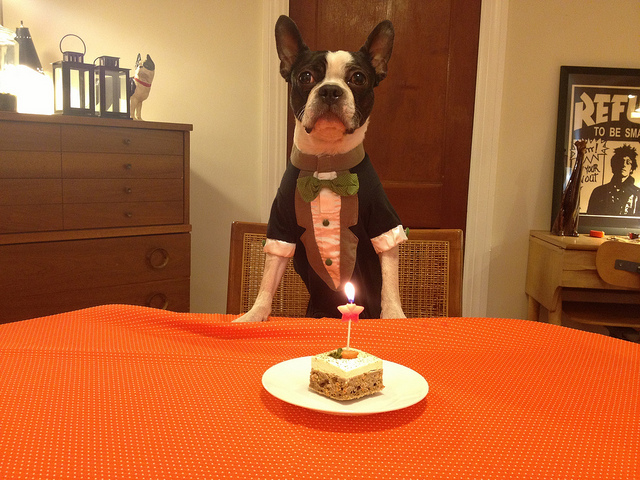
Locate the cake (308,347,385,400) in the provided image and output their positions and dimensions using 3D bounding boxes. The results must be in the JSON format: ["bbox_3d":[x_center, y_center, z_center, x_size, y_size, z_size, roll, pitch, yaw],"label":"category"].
[{"bbox_3d":[0.042,0.210,0.831,0.079,0.059,0.078,-5,8,-39],"label":"cake"}]

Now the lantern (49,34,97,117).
[{"bbox_3d":[-1.108,-0.756,2.208,0.173,0.399,0.619,-5,14,-27],"label":"lantern"}]

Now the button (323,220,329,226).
[{"bbox_3d":[0.023,-0.055,1.594,0.018,0.019,0.008,-1,12,-9],"label":"button"}]

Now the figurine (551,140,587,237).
[{"bbox_3d":[1.359,-0.279,2.637,0.133,0.501,0.145,6,11,-4],"label":"figurine"}]

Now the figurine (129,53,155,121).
[{"bbox_3d":[-0.822,-0.709,2.281,0.108,0.300,0.249,-3,13,-18],"label":"figurine"}]

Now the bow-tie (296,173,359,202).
[{"bbox_3d":[0.028,-0.168,1.585,0.199,0.090,0.050,1,12,0],"label":"bow-tie"}]

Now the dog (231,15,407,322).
[{"bbox_3d":[0.053,-0.236,1.576,0.477,0.955,0.525,3,13,9],"label":"dog"}]

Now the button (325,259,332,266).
[{"bbox_3d":[0.032,0.076,1.625,0.017,0.018,0.017,-1,5,-29],"label":"button"}]
